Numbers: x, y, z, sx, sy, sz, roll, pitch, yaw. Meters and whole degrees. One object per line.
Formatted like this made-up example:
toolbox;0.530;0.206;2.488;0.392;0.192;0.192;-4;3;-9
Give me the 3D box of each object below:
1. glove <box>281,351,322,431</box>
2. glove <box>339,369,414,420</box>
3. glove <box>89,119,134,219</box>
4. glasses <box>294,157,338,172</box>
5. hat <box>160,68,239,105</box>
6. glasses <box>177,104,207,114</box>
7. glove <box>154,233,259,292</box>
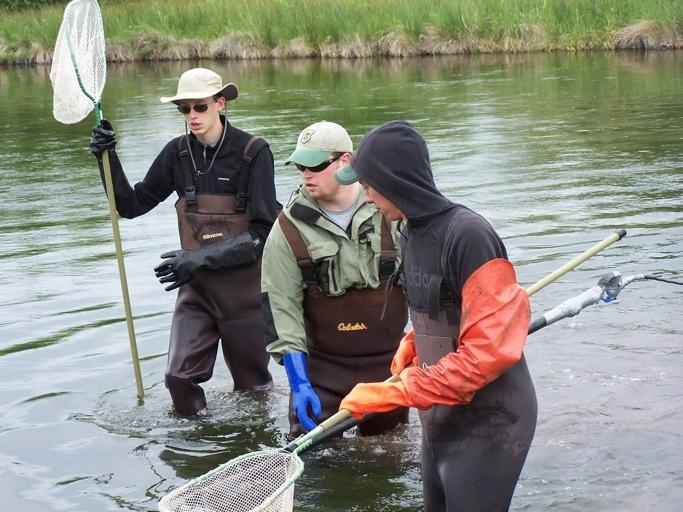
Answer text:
glove;-0.311;1.036;8.115;0.277;0.181;0.667;-16;45;5
glove;0.221;0.923;7.014;0.523;0.125;0.289;-11;37;-31
glove;-2.102;-0.789;9.652;0.344;0.929;0.307;-21;26;-8
glasses;-0.195;-0.727;8.268;0.342;0.122;0.171;-2;9;7
hat;-1.208;-1.574;9.409;0.757;0.248;0.703;-10;17;-30
glasses;-1.362;-1.308;9.258;0.314;0.078;0.152;4;11;41
glove;-1.198;0.023;9.272;1.033;0.288;0.301;-20;35;-33
